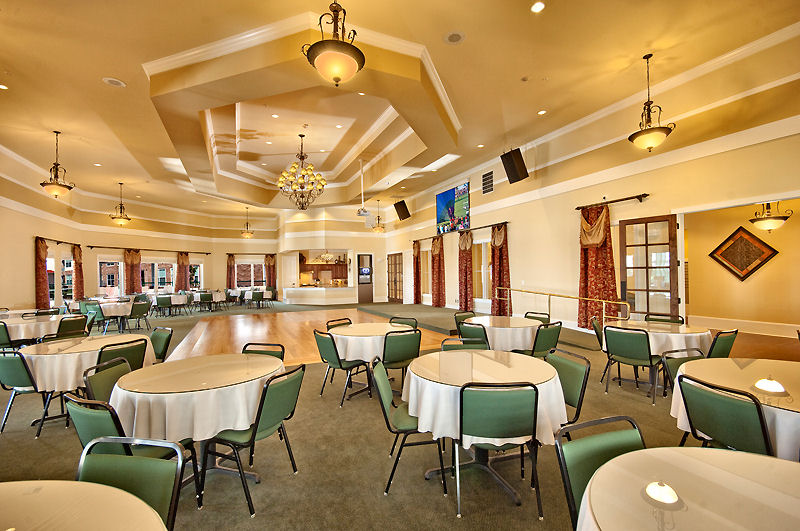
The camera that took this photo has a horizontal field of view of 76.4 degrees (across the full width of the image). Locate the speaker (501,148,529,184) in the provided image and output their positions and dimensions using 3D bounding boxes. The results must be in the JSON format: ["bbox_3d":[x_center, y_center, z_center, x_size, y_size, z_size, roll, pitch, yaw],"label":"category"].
[{"bbox_3d":[2.606,-2.306,11.591,0.478,0.716,0.407,-2,-2,43],"label":"speaker"}]

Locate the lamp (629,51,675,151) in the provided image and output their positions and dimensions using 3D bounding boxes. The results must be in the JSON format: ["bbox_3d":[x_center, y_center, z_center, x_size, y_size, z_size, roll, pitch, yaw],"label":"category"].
[{"bbox_3d":[4.410,-2.757,8.899,0.681,1.515,1.334,-2,-2,28],"label":"lamp"}]

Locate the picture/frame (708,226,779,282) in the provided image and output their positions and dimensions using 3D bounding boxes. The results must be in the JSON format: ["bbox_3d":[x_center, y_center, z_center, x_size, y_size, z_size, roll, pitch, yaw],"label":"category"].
[{"bbox_3d":[7.293,-0.245,10.713,0.067,0.876,0.880,-1,-46,-41],"label":"picture/frame"}]
